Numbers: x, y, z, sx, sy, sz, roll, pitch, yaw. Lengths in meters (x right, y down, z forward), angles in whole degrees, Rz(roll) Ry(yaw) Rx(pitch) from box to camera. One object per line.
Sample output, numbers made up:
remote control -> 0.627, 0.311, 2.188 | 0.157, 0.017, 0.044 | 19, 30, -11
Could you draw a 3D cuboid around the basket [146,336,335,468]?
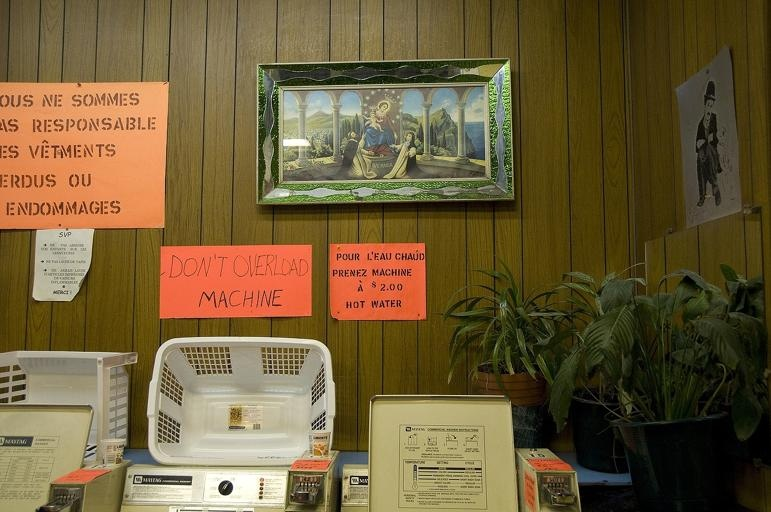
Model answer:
basket -> -0.601, 0.614, 2.860 | 0.778, 0.520, 0.262 | -1, -1, 3
